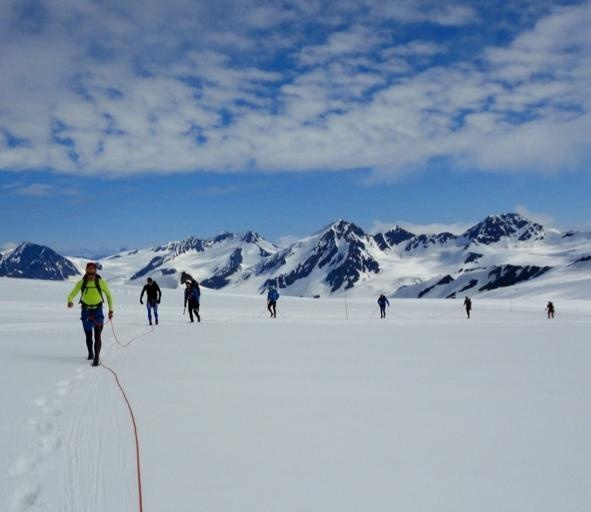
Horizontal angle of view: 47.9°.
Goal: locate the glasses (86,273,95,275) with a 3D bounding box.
[{"bbox_3d":[-4.996,0.467,16.357,0.177,0.089,0.225,2,-1,-16],"label":"glasses"}]
